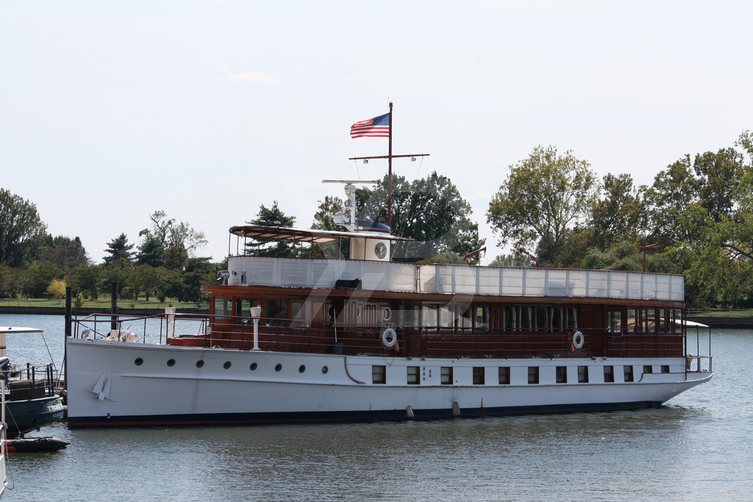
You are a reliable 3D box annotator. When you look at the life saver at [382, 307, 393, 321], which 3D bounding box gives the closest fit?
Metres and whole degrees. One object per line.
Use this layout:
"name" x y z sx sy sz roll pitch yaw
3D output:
"life saver" 0.646 3.592 81.013 0.765 0.950 0.094 0 -1 -38
